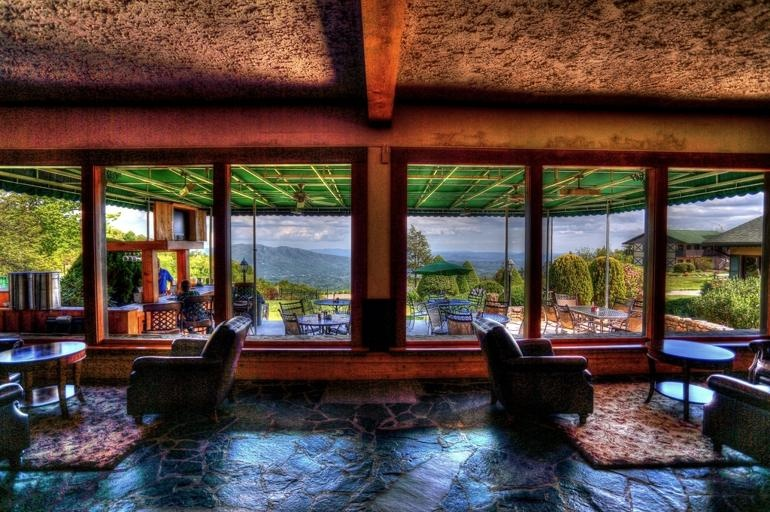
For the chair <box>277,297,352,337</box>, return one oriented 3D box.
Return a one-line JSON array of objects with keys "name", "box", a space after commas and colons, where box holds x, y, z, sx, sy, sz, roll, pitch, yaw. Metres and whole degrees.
[{"name": "chair", "box": [-1.469, 1.322, 11.193, 1.389, 0.684, 1.218, 0, 1, 2]}]
